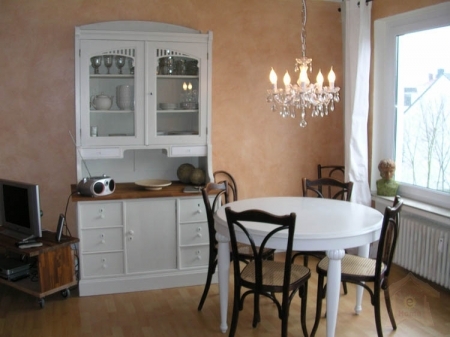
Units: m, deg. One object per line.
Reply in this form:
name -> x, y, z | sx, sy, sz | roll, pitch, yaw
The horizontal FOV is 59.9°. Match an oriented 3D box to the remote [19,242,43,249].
remote -> -1.667, 0.664, 3.358 | 0.189, 0.033, 0.063 | -8, 16, -27

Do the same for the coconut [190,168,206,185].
coconut -> -0.283, 0.078, 4.068 | 0.146, 0.194, 0.152 | 0, 6, -18

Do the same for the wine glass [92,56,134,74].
wine glass -> -1.066, -0.996, 3.699 | 0.375, 0.163, 0.074 | -1, 14, -1

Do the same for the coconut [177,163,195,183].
coconut -> -0.416, 0.027, 4.107 | 0.174, 0.224, 0.181 | 5, 7, 20

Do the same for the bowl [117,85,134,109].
bowl -> -0.957, -0.685, 3.757 | 0.190, 0.248, 0.198 | 0, 4, 0

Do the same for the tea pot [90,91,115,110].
tea pot -> -1.169, -0.635, 3.708 | 0.200, 0.158, 0.140 | -2, 6, -21
